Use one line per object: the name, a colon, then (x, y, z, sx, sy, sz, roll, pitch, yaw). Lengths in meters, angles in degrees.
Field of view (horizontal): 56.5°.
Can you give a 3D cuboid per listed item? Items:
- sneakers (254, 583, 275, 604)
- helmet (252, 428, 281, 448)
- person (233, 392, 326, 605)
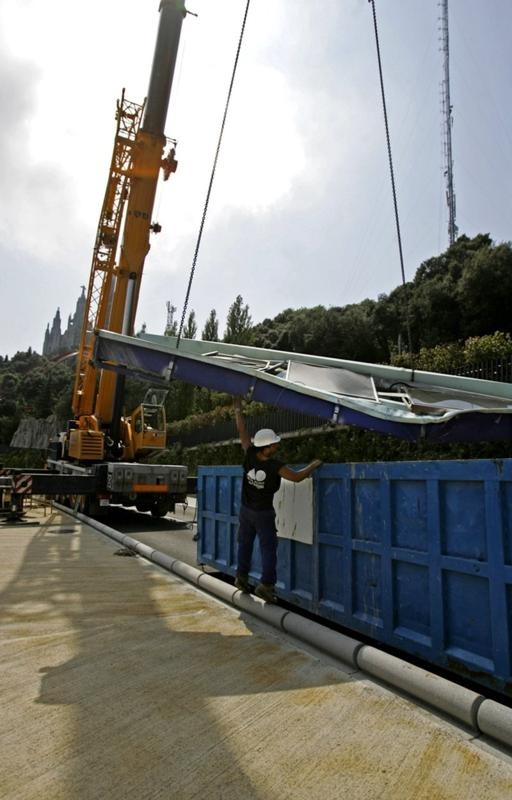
sneakers: (0.073, 1.647, 4.108, 0.159, 0.160, 0.132, 17, -8, -5)
helmet: (0.074, 0.339, 4.276, 0.185, 0.108, 0.164, -24, 10, 8)
person: (0.121, 0.930, 4.365, 0.510, 1.764, 1.032, 2, -8, -22)
